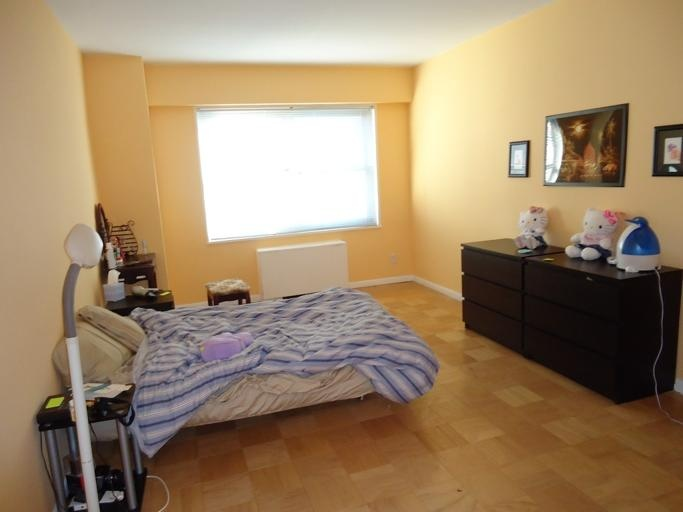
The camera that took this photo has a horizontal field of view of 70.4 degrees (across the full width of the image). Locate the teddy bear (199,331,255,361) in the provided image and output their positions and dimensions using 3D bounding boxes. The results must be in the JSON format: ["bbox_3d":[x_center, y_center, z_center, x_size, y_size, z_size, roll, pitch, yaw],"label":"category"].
[{"bbox_3d":[-0.804,0.615,3.420,0.395,0.108,0.315,-12,15,-28],"label":"teddy bear"}]

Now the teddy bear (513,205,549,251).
[{"bbox_3d":[1.729,-0.253,4.377,0.265,0.345,0.398,0,14,22],"label":"teddy bear"}]

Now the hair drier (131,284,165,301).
[{"bbox_3d":[-1.775,0.337,4.438,0.252,0.096,0.154,7,7,-14],"label":"hair drier"}]

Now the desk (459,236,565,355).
[{"bbox_3d":[1.647,0.363,4.603,0.624,0.900,1.023,-5,10,-11],"label":"desk"}]

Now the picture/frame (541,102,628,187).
[{"bbox_3d":[2.047,-0.931,4.008,0.035,0.668,0.855,-4,4,-22],"label":"picture/frame"}]

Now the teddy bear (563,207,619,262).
[{"bbox_3d":[2.006,-0.201,3.970,0.417,0.444,0.396,-9,14,-16],"label":"teddy bear"}]

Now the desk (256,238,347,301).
[{"bbox_3d":[-0.509,0.182,5.839,0.783,0.422,0.218,-6,13,-20],"label":"desk"}]

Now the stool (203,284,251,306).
[{"bbox_3d":[-1.232,0.421,5.284,0.313,0.296,0.297,-5,7,-30],"label":"stool"}]

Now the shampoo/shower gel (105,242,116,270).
[{"bbox_3d":[-2.232,-0.010,4.682,0.094,0.265,0.293,-12,15,-25],"label":"shampoo/shower gel"}]
